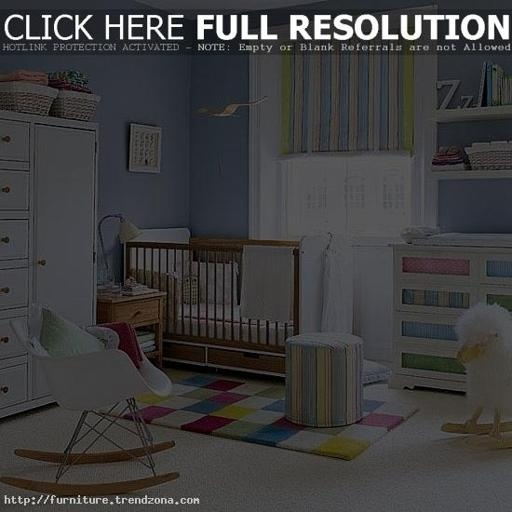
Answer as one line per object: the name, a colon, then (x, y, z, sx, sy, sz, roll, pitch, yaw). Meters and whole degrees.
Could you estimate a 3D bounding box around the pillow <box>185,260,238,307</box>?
pillow: (-0.353, 0.224, 4.159, 0.380, 0.351, 0.210, 3, 7, 35)

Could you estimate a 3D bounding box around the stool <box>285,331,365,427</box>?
stool: (0.338, 0.663, 2.906, 0.449, 0.413, 0.446, -1, 0, 1)

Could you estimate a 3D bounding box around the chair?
chair: (-0.732, 0.596, 2.376, 0.751, 0.670, 0.858, 0, 1, -8)

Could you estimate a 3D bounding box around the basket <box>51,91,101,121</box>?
basket: (-1.139, -0.927, 3.257, 0.183, 0.126, 0.273, 0, 10, -38)

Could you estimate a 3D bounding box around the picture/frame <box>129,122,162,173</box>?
picture/frame: (-0.969, -0.941, 4.514, 0.038, 0.471, 0.498, 7, 4, 29)
